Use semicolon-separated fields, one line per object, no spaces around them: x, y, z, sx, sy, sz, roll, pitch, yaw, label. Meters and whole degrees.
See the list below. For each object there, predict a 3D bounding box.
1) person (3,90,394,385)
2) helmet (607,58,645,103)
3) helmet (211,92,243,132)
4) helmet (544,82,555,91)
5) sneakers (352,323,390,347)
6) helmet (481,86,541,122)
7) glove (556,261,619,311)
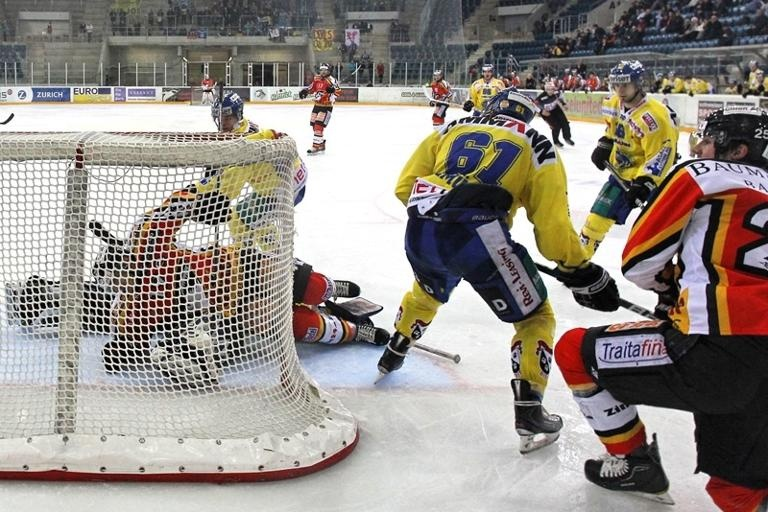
-1.031;-0.118;4.088;1.845;1.131;1.211;3;17;-12;person
1.929;-1.405;6.408;0.271;0.296;0.334;-1;19;28;helmet
-1.065;-0.968;5.337;0.235;0.258;0.268;0;19;3;helmet
2.859;-2.957;13.909;0.156;0.147;0.193;0;0;8;helmet
-0.076;0.466;4.783;0.280;0.117;0.088;12;40;7;sneakers
0.673;-0.777;4.087;0.236;0.228;0.270;17;17;20;helmet
0.990;0.160;3.858;0.264;0.269;0.114;-36;21;55;glove
